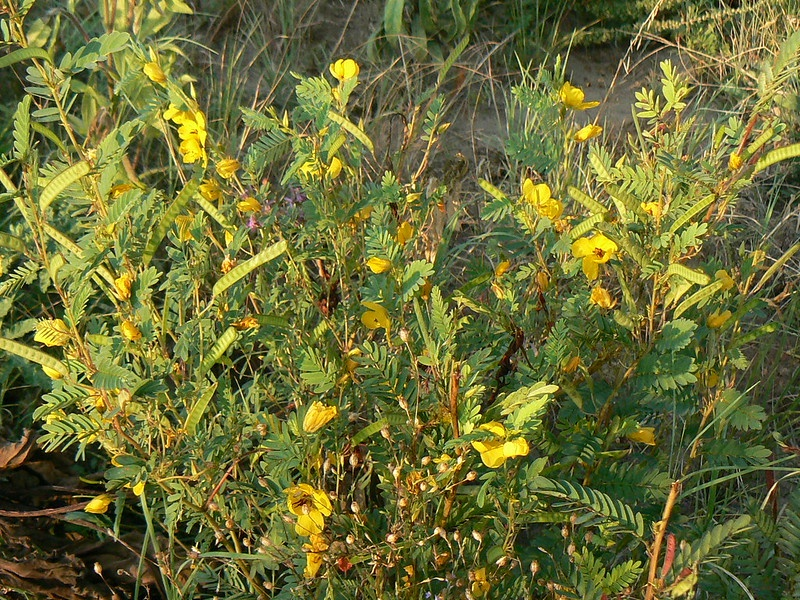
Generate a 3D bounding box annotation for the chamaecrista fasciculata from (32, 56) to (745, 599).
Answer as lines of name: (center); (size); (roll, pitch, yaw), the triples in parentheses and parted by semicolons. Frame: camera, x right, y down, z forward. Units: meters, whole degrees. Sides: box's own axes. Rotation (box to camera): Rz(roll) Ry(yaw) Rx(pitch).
chamaecrista fasciculata: (-0.047, 0.163, 3.089); (1.369, 1.287, 1.990); (8, 63, -3)
